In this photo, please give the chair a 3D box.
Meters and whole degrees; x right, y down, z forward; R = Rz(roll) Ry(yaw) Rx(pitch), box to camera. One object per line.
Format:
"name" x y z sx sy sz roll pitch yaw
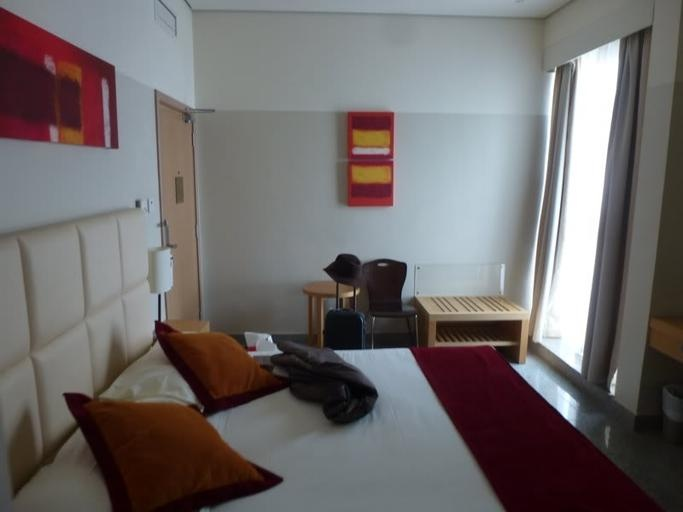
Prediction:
"chair" 0.449 0.469 4.939 0.434 0.885 0.505 -4 3 -10
